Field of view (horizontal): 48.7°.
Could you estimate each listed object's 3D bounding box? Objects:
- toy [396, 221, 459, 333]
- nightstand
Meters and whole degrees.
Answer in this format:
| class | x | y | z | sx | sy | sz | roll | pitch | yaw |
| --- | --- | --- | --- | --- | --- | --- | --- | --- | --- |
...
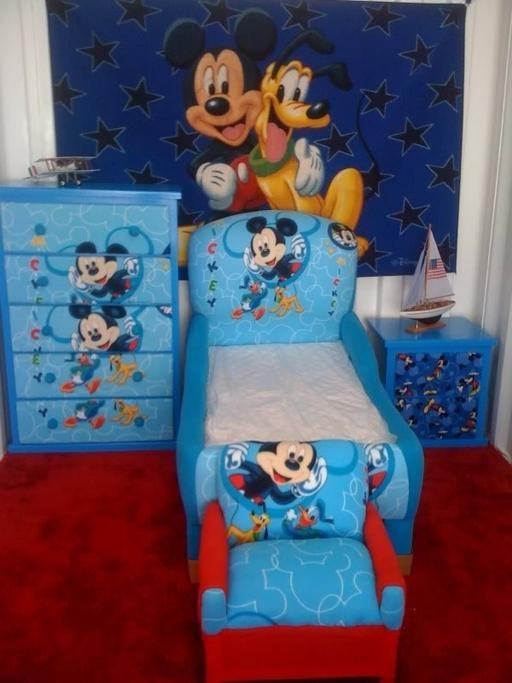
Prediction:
| class | x | y | z | sx | sy | sz | roll | pitch | yaw |
| --- | --- | --- | --- | --- | --- | --- | --- | --- | --- |
| toy | 0.928 | -0.360 | 3.243 | 0.302 | 0.636 | 0.278 | -4 | 22 | -16 |
| nightstand | 0.985 | 0.190 | 3.405 | 0.718 | 0.649 | 0.589 | -2 | 21 | -7 |
